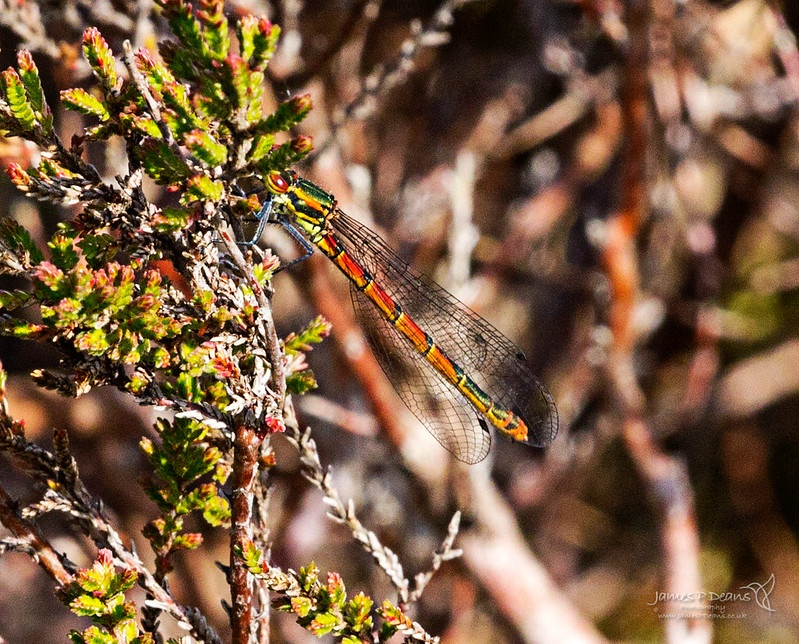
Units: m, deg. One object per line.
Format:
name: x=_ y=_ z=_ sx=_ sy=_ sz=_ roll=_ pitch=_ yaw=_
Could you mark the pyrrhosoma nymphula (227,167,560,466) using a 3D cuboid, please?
pyrrhosoma nymphula: x=-0.043 y=-0.026 z=2.482 sx=0.675 sy=0.774 sz=0.457 roll=-20 pitch=21 yaw=-35
